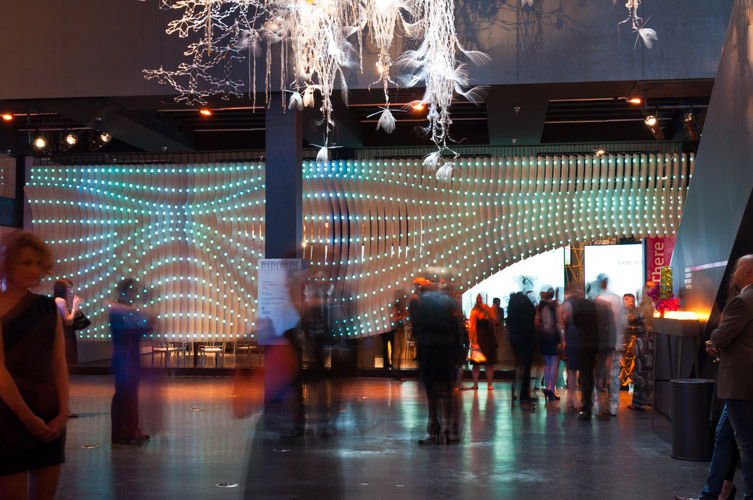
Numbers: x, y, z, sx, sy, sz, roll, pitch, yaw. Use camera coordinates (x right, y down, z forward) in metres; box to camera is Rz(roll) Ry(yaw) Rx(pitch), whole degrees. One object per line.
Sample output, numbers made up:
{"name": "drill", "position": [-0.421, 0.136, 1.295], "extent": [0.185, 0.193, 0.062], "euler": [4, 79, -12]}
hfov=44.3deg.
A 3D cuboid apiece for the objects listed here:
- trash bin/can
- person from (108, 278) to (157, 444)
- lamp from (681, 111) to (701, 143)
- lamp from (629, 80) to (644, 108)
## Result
{"name": "trash bin/can", "position": [3.887, 2.097, 11.141], "extent": [0.634, 1.096, 0.650], "euler": [-6, -13, 42]}
{"name": "person", "position": [-3.150, 1.414, 11.759], "extent": [0.488, 2.078, 0.539], "euler": [1, -4, -15]}
{"name": "lamp", "position": [5.135, -1.989, 14.969], "extent": [0.327, 0.597, 0.268], "euler": [-3, 1, -7]}
{"name": "lamp", "position": [3.860, -2.286, 13.618], "extent": [0.230, 0.135, 1.118], "euler": [-1, -4, 12]}
